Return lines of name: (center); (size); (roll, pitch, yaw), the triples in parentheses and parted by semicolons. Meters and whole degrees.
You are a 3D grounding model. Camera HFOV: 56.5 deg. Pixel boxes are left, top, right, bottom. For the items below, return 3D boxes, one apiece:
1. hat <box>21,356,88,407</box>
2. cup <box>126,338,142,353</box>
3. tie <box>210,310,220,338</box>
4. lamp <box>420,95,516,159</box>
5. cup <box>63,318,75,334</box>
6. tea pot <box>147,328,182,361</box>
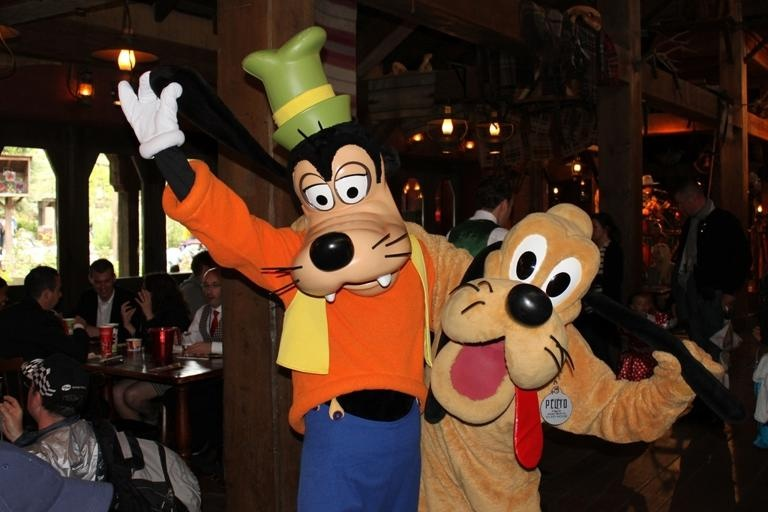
hat: (-1.849, 0.682, 4.030); (0.339, 0.188, 0.237); (34, 21, 22)
cup: (-1.977, 0.703, 5.629); (0.109, 0.084, 0.102); (2, 7, 0)
tie: (-1.428, 0.574, 5.981); (0.135, 0.192, 0.046); (-5, -13, 34)
lamp: (0.968, -1.514, 8.361); (0.869, 0.455, 0.706); (-1, 0, 17)
cup: (-2.502, 0.558, 5.633); (0.092, 0.126, 0.087); (2, 13, 0)
tea pot: (-1.742, 0.689, 5.530); (0.260, 0.271, 0.270); (-1, -14, 0)
